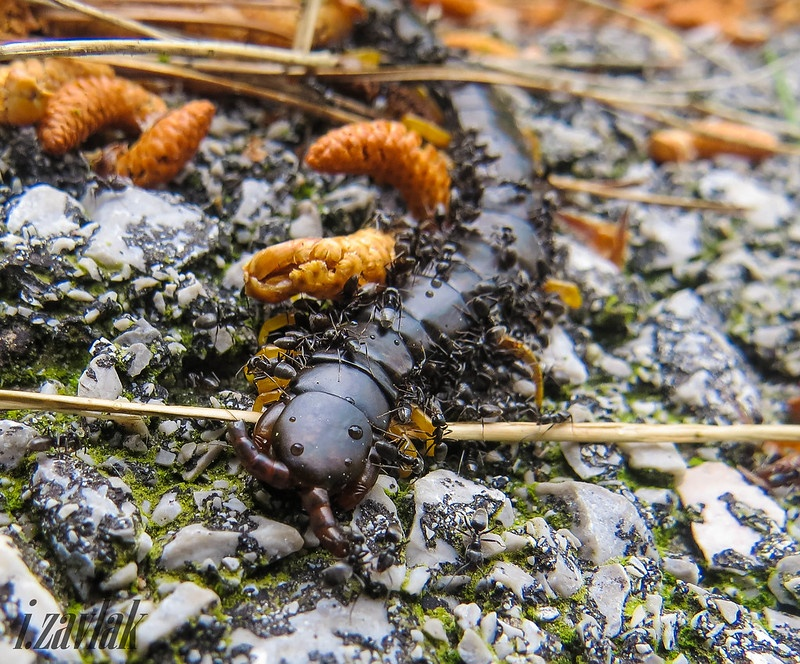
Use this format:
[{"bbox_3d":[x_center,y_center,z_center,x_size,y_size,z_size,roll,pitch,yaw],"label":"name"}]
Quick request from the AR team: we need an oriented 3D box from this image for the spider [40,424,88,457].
[{"bbox_3d":[-1.410,0.453,3.997,0.135,0.042,0.111,2,56,-43],"label":"spider"}]
